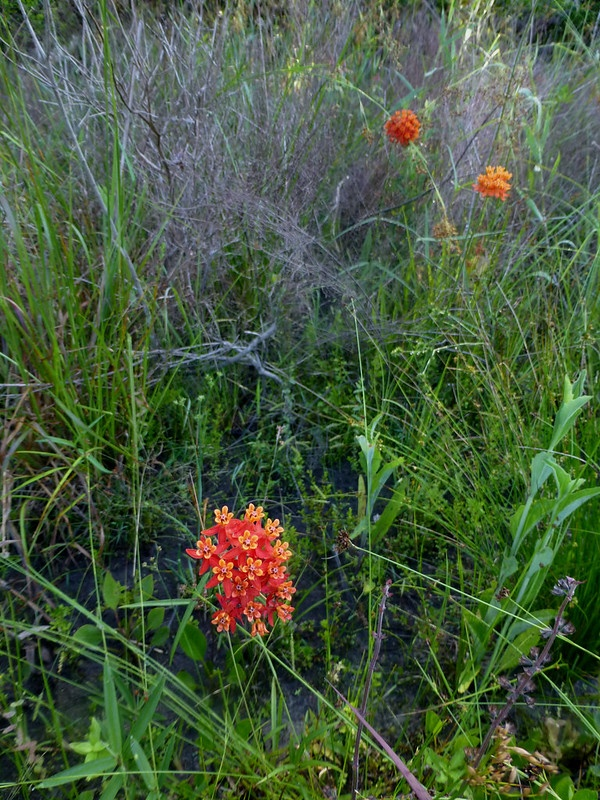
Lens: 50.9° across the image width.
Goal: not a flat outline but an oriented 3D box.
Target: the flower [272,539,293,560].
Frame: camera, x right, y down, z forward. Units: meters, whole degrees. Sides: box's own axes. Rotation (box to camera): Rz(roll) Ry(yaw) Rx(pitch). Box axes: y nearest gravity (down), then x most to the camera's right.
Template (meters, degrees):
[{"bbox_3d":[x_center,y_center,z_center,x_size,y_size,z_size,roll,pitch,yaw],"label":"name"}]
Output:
[{"bbox_3d":[-0.036,0.284,1.170,0.029,0.015,0.034,-13,47,-33],"label":"flower"}]

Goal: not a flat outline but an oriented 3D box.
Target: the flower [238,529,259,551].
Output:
[{"bbox_3d":[-0.091,0.251,1.100,0.034,0.017,0.032,32,47,12],"label":"flower"}]

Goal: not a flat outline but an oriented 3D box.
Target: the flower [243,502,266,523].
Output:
[{"bbox_3d":[-0.086,0.221,1.182,0.038,0.024,0.051,3,41,-10],"label":"flower"}]
